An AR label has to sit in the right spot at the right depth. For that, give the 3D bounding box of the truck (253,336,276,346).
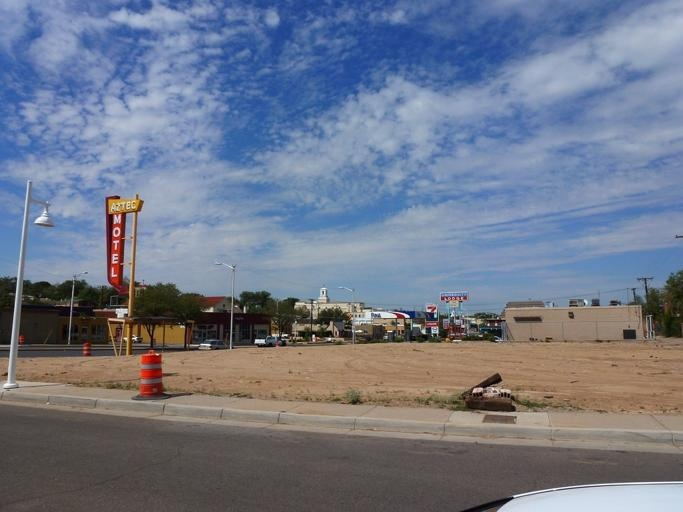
[{"bbox_3d":[-11.097,12.713,67.157,3.063,1.259,1.968,-1,-6,-3],"label":"truck"}]
